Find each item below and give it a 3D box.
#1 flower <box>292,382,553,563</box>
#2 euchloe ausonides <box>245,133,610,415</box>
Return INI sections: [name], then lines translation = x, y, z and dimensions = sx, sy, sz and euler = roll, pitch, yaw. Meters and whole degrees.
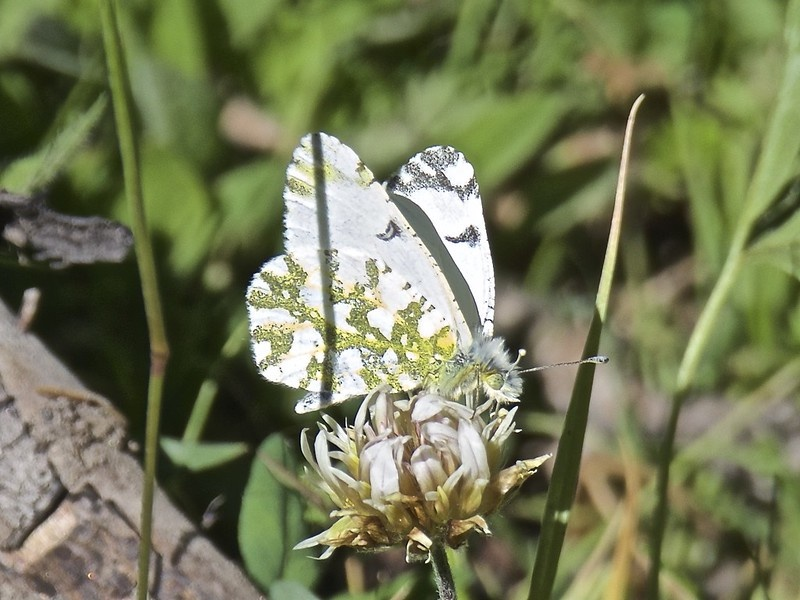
[flower]
translation = 0.005, 0.152, 0.929
dimensions = 0.236, 0.114, 0.247
euler = -5, 6, 24
[euchloe ausonides]
translation = 0.020, -0.007, 1.017
dimensions = 0.267, 0.232, 0.264
euler = 14, -8, 24
